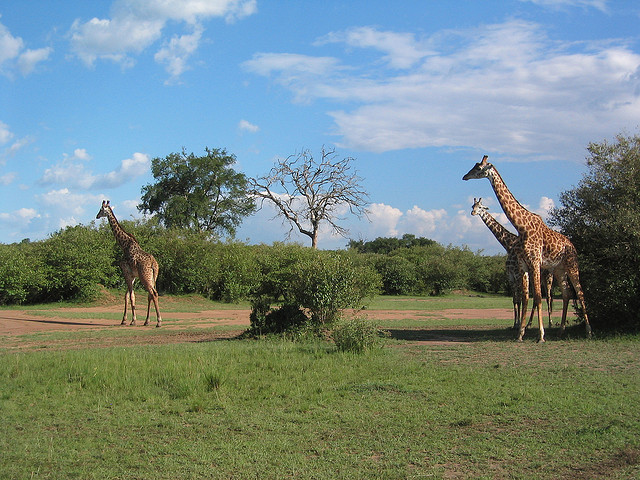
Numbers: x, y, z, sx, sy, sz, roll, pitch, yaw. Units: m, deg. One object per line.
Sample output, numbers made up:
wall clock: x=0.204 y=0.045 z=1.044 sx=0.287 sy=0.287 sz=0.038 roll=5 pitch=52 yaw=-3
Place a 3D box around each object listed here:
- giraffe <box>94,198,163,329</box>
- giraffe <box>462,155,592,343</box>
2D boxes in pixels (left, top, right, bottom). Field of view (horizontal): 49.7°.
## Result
giraffe: x=-8.148 y=1.163 z=30.376 sx=2.370 sy=5.233 sz=10.133 roll=1 pitch=-6 yaw=-13
giraffe: x=7.514 y=0.395 z=23.387 sx=2.639 sy=5.968 sz=2.979 roll=-5 pitch=-7 yaw=38
